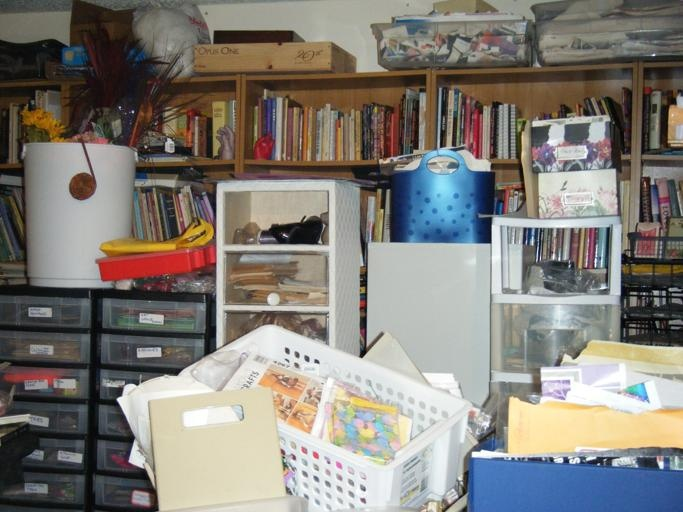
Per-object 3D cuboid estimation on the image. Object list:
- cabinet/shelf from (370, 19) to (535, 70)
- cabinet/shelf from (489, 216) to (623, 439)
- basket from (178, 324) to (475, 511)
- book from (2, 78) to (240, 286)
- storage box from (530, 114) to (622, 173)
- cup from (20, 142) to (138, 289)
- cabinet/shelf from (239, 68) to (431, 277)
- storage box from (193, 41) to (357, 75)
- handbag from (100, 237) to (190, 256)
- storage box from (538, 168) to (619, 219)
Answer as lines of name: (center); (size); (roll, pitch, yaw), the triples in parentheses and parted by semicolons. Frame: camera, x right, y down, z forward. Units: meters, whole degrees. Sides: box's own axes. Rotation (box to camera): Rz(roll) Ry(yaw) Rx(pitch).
cabinet/shelf: (0.504, -0.934, 2.874); (0.461, 0.128, 0.318); (0, 8, 13)
cabinet/shelf: (0.752, 0.163, 2.283); (0.402, 0.602, 0.411); (3, 7, 37)
basket: (-0.033, 0.289, 1.509); (0.578, 0.178, 0.354); (19, 24, 33)
book: (-0.861, -0.277, 2.617); (1.029, 0.830, 0.333); (0, -8, -1)
storage box: (0.796, -0.385, 2.256); (0.230, 0.135, 0.225); (-1, 4, 21)
cup: (-0.932, -0.140, 2.361); (0.374, 0.521, 0.161); (-4, 6, -23)
cabinet/shelf: (-0.017, -0.386, 3.280); (1.243, 1.071, 0.427); (1, 0, 6)
storage box: (-0.322, -0.935, 3.138); (0.761, 0.148, 0.266); (-1, 6, -5)
handbag: (-0.697, -0.029, 2.320); (0.320, 0.058, 0.116); (1, 6, 14)
storage box: (0.824, -0.208, 2.273); (0.316, 0.179, 0.164); (-1, -5, 12)
